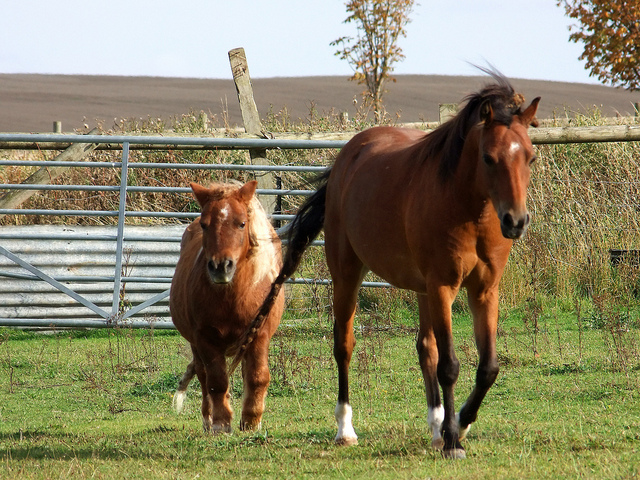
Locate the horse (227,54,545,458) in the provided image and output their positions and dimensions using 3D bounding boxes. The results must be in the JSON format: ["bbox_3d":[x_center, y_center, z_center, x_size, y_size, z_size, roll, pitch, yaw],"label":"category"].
[{"bbox_3d":[0.934,0.336,14.347,1.521,4.637,6.876,-2,3,-27],"label":"horse"}]
